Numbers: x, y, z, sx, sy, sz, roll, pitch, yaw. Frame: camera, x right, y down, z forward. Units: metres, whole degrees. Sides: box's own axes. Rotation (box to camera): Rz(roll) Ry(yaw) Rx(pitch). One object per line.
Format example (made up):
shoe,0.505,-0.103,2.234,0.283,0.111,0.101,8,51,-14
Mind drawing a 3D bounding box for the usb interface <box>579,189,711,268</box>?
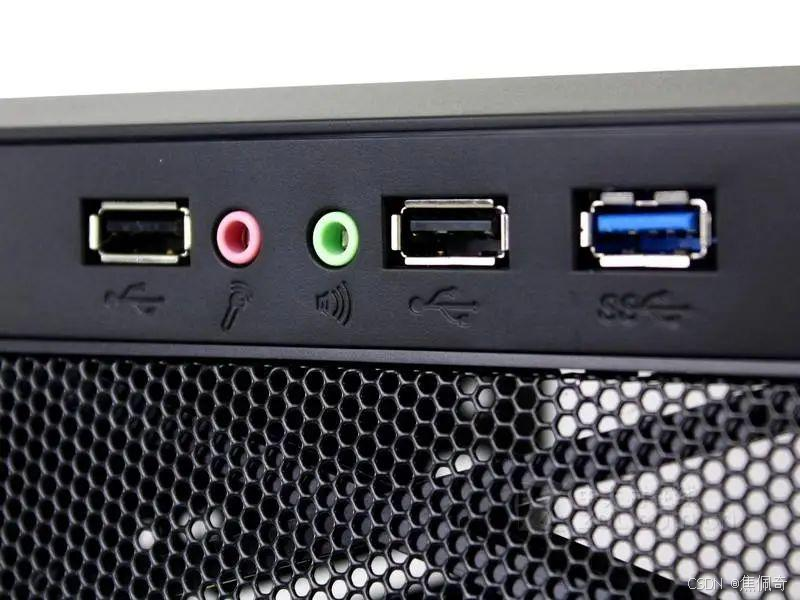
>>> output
usb interface,0.164,-0.039,0.609,0.065,0.054,0.023,1,6,13
